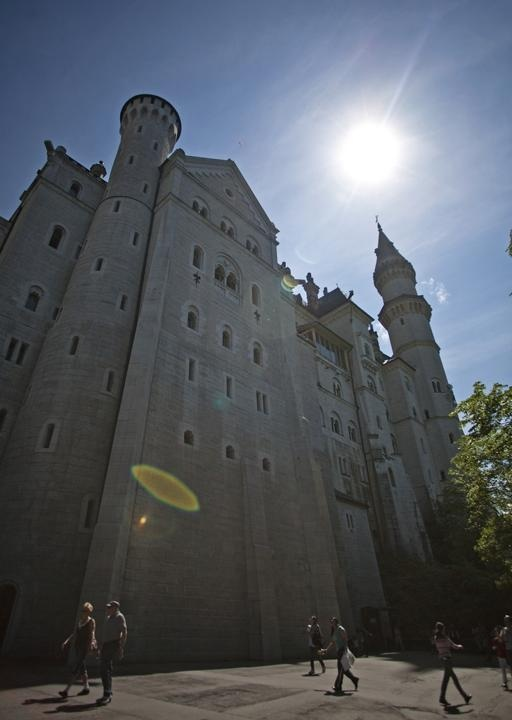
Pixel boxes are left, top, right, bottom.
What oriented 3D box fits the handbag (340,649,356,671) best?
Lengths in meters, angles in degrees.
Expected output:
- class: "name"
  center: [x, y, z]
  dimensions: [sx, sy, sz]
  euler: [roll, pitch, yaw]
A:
- class: "handbag"
  center: [1.776, 5.887, 6.839]
  dimensions: [0.192, 0.360, 0.331]
  euler: [-17, -28, 28]
